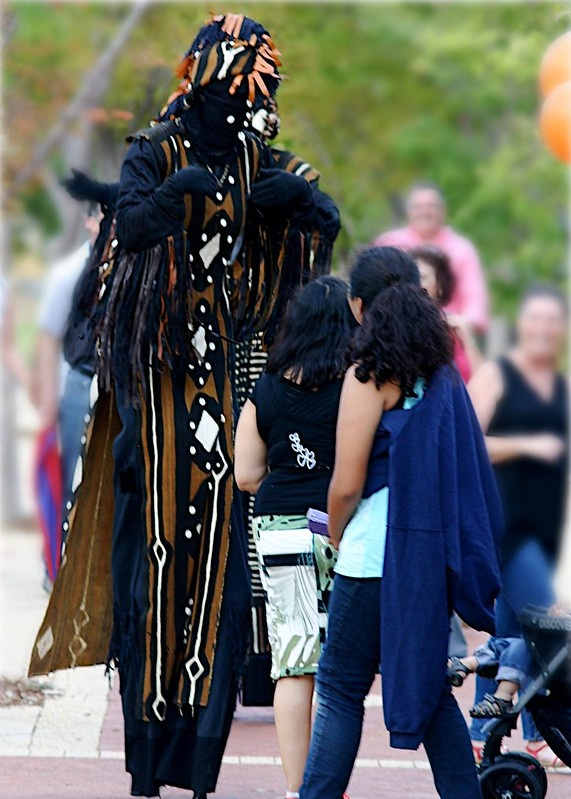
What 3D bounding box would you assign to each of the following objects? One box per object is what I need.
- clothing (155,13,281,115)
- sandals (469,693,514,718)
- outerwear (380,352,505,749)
[{"bbox_3d":[-0.168,-0.989,3.945,0.268,0.366,0.179,49,-4,11],"label":"clothing"},{"bbox_3d":[0.655,0.972,3.997,0.126,0.044,0.060,1,-3,-2],"label":"sandals"},{"bbox_3d":[0.357,0.383,3.280,0.448,1.031,0.360,-4,9,-6],"label":"outerwear"}]
